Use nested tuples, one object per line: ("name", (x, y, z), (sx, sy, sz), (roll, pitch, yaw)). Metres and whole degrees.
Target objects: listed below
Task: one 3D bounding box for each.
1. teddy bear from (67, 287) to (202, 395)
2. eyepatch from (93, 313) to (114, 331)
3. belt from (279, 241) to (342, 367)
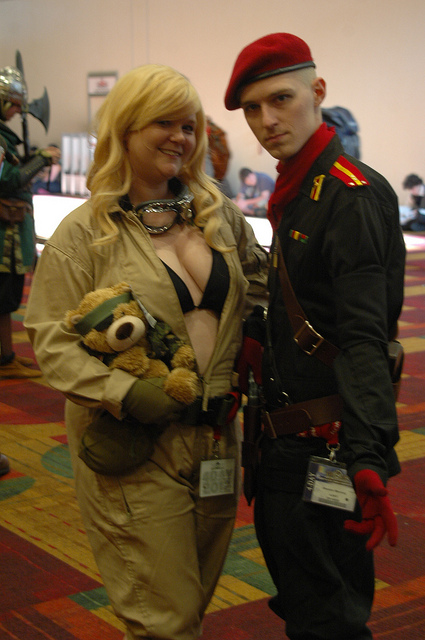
("teddy bear", (-0.157, 0.061, 1.124), (0.197, 0.260, 0.181), (-21, 21, -12))
("eyepatch", (-0.216, 0.002, 1.068), (0.019, 0.032, 0.026), (47, 22, 19))
("belt", (0.181, -0.017, 1.099), (0.053, 0.182, 0.140), (-20, -8, -20))
